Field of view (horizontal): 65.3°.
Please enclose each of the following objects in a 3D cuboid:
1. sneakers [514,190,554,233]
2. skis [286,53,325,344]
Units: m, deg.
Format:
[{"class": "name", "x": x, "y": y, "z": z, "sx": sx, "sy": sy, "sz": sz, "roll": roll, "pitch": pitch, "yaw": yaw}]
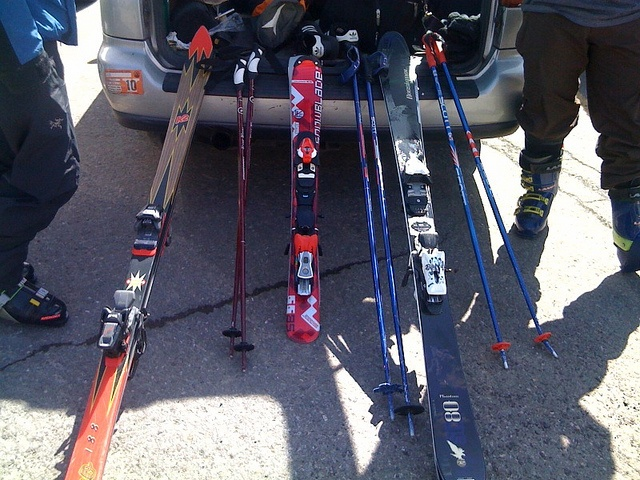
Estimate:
[{"class": "sneakers", "x": 1.407, "y": -0.216, "z": 3.293, "sx": 0.131, "sy": 0.161, "sz": 0.442, "roll": 9, "pitch": 87, "yaw": 30}, {"class": "skis", "x": -0.098, "y": -0.251, "z": 2.881, "sx": 0.198, "sy": 0.244, "sz": 1.538, "roll": -1, "pitch": 84, "yaw": -5}]
